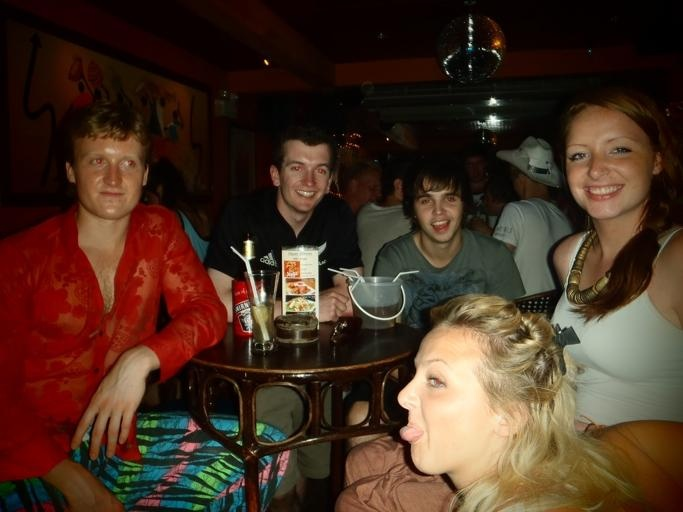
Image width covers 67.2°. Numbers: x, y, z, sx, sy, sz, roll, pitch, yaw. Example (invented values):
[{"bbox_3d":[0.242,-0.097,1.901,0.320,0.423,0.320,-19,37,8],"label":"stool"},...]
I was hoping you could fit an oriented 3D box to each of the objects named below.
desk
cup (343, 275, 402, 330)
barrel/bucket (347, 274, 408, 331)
[{"bbox_3d":[-0.126,0.690,2.253,1.020,0.630,0.481,-2,7,-19],"label":"desk"},{"bbox_3d":[0.167,0.207,2.527,0.249,0.188,0.259,1,4,0],"label":"cup"},{"bbox_3d":[0.180,0.206,2.512,0.270,0.197,0.249,0,7,0],"label":"barrel/bucket"}]
